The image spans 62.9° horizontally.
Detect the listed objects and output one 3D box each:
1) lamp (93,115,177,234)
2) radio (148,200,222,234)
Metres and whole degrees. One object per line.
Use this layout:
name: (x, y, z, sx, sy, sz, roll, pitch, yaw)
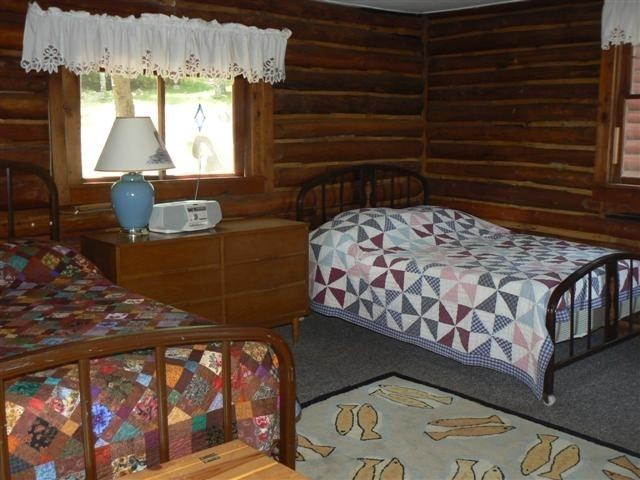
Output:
lamp: (-1.081, -0.451, 3.612, 0.685, 0.695, 0.565, 0, 7, -2)
radio: (-0.938, -0.188, 3.700, 0.342, 0.210, 0.518, 11, 12, 44)
